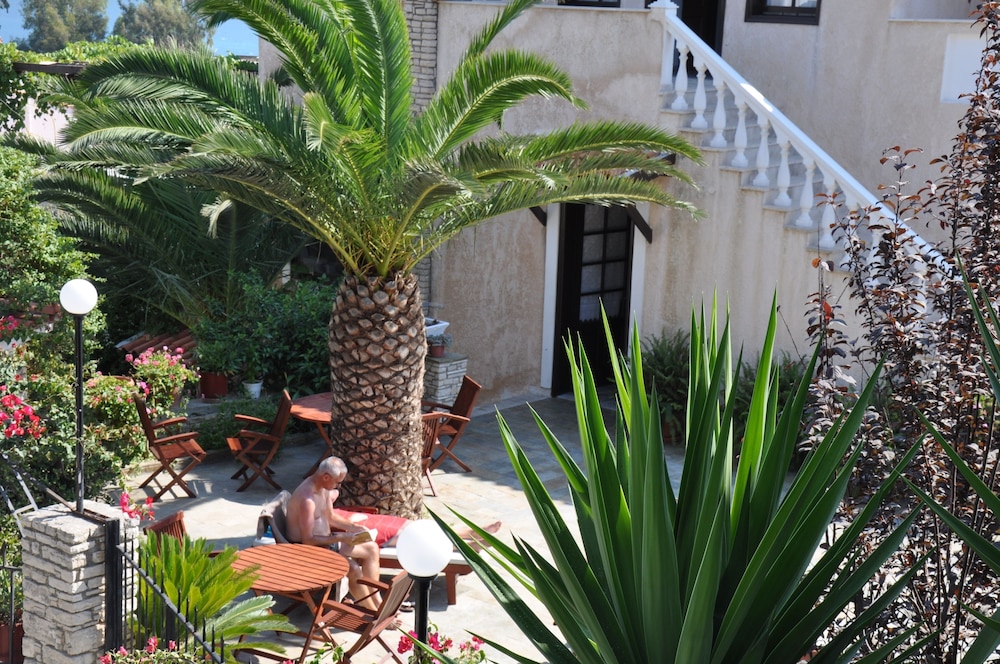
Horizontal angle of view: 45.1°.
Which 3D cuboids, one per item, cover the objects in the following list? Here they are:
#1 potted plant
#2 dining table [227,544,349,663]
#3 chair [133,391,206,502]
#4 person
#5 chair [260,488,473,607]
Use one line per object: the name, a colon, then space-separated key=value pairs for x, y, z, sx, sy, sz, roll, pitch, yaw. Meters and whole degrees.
potted plant: x=-4.406 y=0.002 z=19.264 sx=1.689 sy=2.246 sz=1.562 roll=2 pitch=0 yaw=12
dining table: x=-2.170 y=2.816 z=12.468 sx=0.958 sy=0.867 sz=1.013 roll=7 pitch=17 yaw=14
chair: x=-4.343 y=1.332 z=15.626 sx=1.005 sy=1.743 sz=1.203 roll=-2 pitch=17 yaw=-15
person: x=-1.723 y=2.221 z=13.234 sx=1.186 sy=1.802 sz=0.683 roll=6 pitch=19 yaw=-1
chair: x=-1.537 y=2.258 z=13.455 sx=2.065 sy=1.059 sz=1.222 roll=4 pitch=22 yaw=-6
